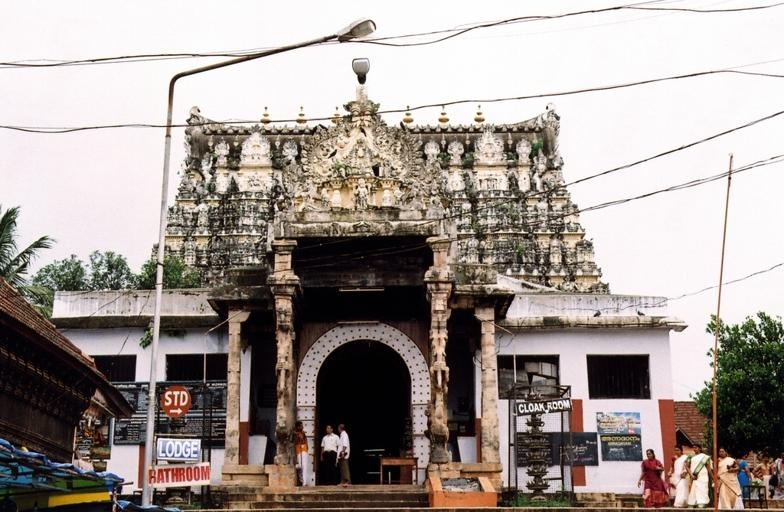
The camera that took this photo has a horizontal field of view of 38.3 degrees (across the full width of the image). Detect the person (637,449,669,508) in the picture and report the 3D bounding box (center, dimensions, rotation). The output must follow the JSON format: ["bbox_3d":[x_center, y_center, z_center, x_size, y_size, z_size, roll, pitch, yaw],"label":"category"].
[{"bbox_3d":[7.565,6.447,32.824,0.788,1.885,1.531,-5,-21,13],"label":"person"}]
